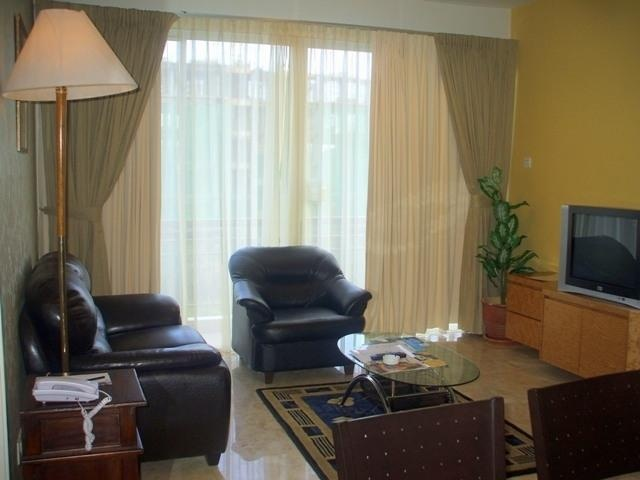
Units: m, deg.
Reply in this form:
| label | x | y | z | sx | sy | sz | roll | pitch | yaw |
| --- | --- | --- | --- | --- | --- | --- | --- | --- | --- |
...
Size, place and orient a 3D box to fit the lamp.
| label | x | y | z | sx | sy | sz | roll | pitch | yaw |
| --- | --- | --- | --- | --- | --- | --- | --- | --- | --- |
| lamp | -1.257 | -0.231 | 2.764 | 0.669 | 1.864 | 0.550 | 6 | 11 | 30 |

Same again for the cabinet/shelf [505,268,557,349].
| label | x | y | z | sx | sy | sz | roll | pitch | yaw |
| --- | --- | --- | --- | --- | --- | --- | --- | --- | --- |
| cabinet/shelf | 2.103 | 0.670 | 5.202 | 0.530 | 0.674 | 0.585 | -2 | 9 | 4 |

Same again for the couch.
| label | x | y | z | sx | sy | sz | roll | pitch | yaw |
| --- | --- | --- | --- | --- | --- | --- | --- | --- | --- |
| couch | -1.282 | 0.184 | 3.555 | 1.138 | 1.382 | 1.890 | -1 | 5 | -20 |

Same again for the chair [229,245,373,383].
| label | x | y | z | sx | sy | sz | roll | pitch | yaw |
| --- | --- | --- | --- | --- | --- | --- | --- | --- | --- |
| chair | -0.228 | 0.582 | 4.781 | 1.134 | 1.111 | 1.091 | 0 | 1 | -19 |
